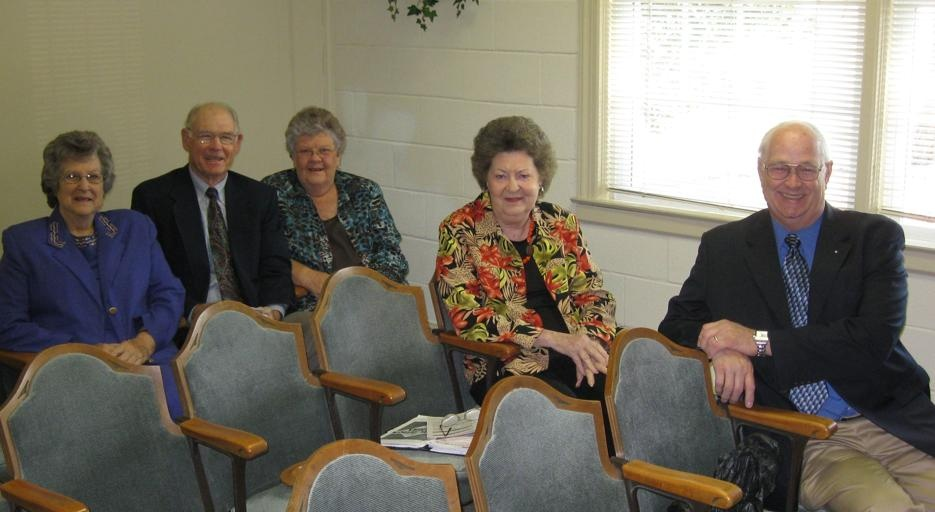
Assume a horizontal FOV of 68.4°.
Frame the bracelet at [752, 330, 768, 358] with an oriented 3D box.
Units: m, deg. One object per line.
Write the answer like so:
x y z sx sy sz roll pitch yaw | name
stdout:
1.285 0.390 3.086 0.070 0.094 0.099 3 50 7 | bracelet

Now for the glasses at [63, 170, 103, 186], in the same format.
-1.874 -0.388 3.365 0.101 0.029 0.100 3 -27 -26 | glasses

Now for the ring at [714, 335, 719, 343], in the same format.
1.108 0.364 3.052 0.023 0.022 0.007 -17 -24 39 | ring

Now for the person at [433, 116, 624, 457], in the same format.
0.357 0.269 3.499 0.928 1.906 1.053 -11 15 -26 | person

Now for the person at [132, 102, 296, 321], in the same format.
-1.368 -0.213 3.869 0.978 1.248 0.819 14 14 26 | person

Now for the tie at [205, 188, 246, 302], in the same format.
-1.382 -0.103 3.859 0.137 0.618 0.077 -10 -2 17 | tie
